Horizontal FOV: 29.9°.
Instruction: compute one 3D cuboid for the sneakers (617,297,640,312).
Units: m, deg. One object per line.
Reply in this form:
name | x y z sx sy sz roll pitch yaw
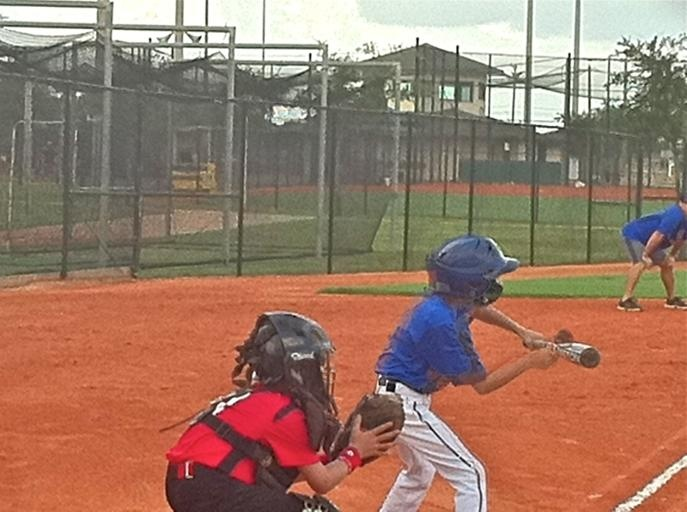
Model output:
sneakers | 4.982 0.842 22.437 0.192 0.195 0.408 3 -3 -44
